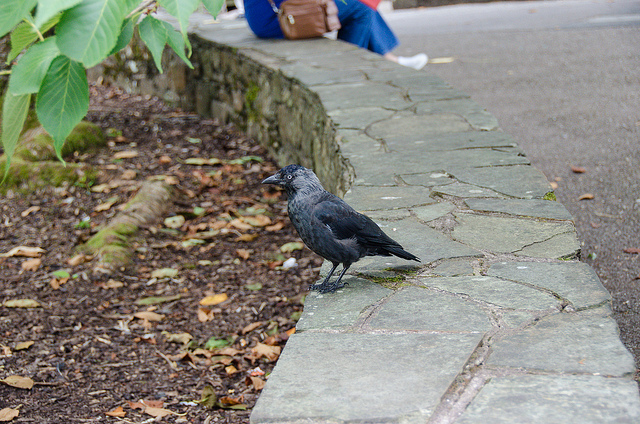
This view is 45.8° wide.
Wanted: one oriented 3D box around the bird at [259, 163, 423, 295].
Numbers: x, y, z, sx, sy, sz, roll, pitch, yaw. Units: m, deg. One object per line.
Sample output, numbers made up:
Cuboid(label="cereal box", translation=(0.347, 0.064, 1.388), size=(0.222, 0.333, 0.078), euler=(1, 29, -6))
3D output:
Cuboid(label="bird", translation=(0.207, 0.087, 5.190), size=(0.764, 0.764, 0.775), euler=(-16, 32, -2))
